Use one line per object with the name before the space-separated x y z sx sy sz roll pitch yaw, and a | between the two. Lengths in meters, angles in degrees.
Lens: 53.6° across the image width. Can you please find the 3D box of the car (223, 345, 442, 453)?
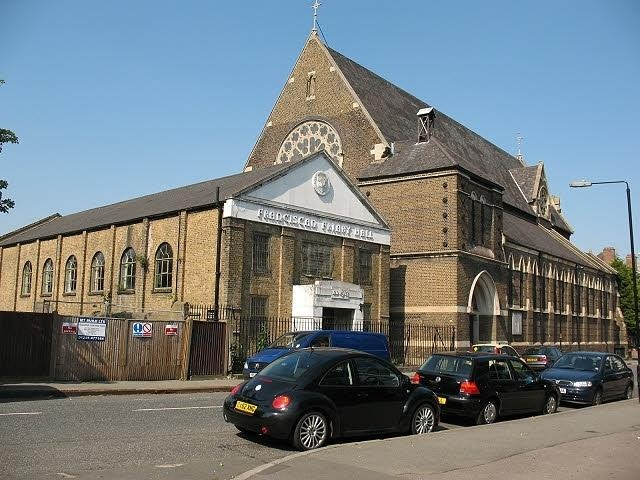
car | 0.233 3.236 13.780 3.731 1.501 2.128 3 -5 -33
